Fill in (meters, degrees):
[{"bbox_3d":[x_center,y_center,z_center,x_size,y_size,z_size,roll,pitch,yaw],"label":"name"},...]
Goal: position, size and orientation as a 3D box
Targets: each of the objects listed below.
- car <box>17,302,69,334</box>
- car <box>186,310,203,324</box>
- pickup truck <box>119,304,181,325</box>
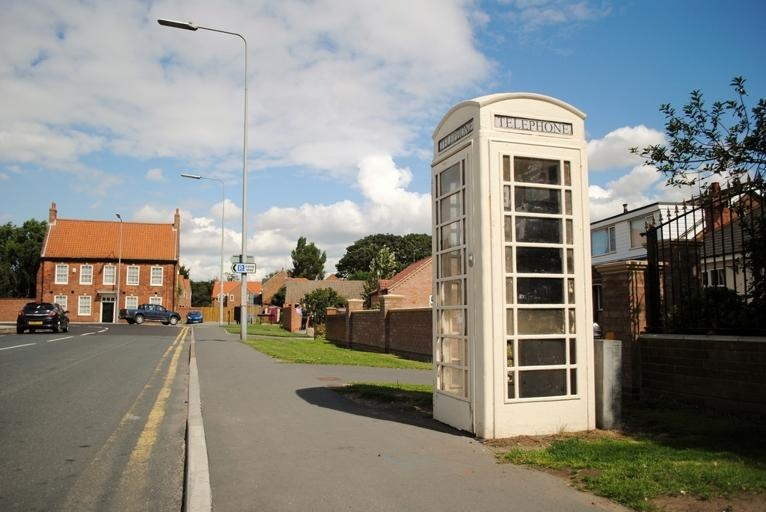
[{"bbox_3d":[-17.722,3.233,32.345,1.500,1.121,3.257,1,-3,-26],"label":"car"},{"bbox_3d":[-20.872,6.832,68.876,1.122,0.972,2.016,0,-8,-13],"label":"car"},{"bbox_3d":[-19.995,5.070,53.124,4.367,1.604,2.033,1,-3,-30],"label":"pickup truck"}]
